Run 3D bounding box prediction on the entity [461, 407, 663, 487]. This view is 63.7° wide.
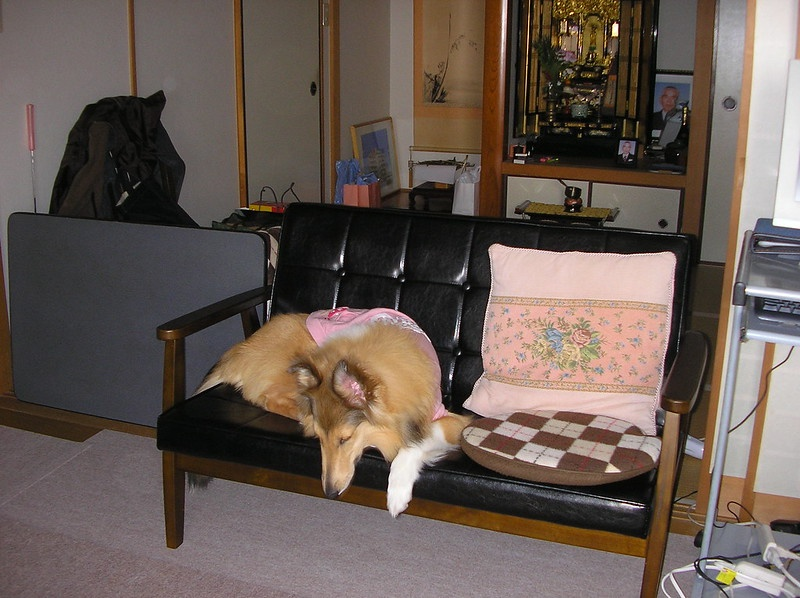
[{"bbox_3d":[0.507,0.470,2.039,0.611,0.114,0.288,2,15,9],"label":"entity"}]

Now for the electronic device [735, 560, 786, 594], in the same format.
[{"bbox_3d":[1.153,0.894,2.061,0.113,0.046,0.086,8,-14,25],"label":"electronic device"}]

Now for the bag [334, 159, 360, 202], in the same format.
[{"bbox_3d":[-0.382,-0.864,4.711,0.175,0.320,0.080,3,8,1],"label":"bag"}]

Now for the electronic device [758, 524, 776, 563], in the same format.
[{"bbox_3d":[1.245,0.829,2.190,0.044,0.069,0.173,5,16,21],"label":"electronic device"}]

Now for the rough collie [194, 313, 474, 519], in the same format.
[{"bbox_3d":[-0.206,0.526,2.378,0.856,0.468,0.702,17,36,11],"label":"rough collie"}]

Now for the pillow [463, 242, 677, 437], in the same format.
[{"bbox_3d":[0.598,0.137,2.296,0.662,0.614,0.349,4,19,29],"label":"pillow"}]
